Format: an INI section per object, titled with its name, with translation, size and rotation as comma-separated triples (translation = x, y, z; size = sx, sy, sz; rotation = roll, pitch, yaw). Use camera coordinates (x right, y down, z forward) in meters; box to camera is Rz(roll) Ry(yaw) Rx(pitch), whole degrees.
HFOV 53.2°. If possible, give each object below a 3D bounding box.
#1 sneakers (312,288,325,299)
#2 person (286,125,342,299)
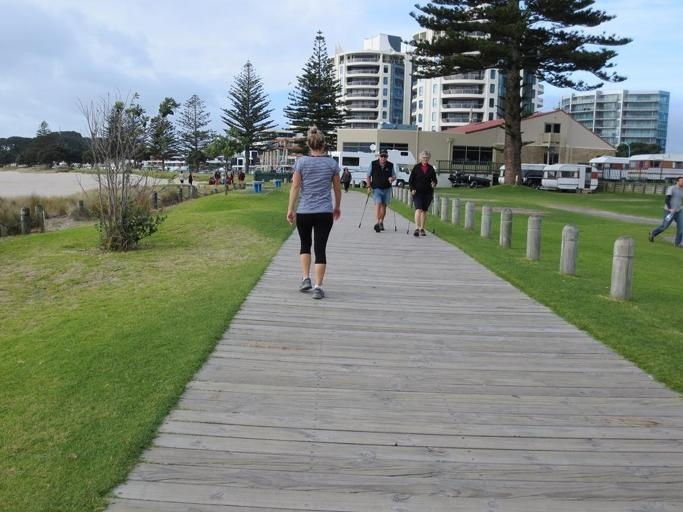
[sneakers]
translation = -0.328, 0.490, 8.914
size = 0.129, 0.132, 0.316
rotation = 0, -3, 5
[person]
translation = -0.368, -0.573, 8.992
size = 0.690, 2.220, 0.743
rotation = -3, 7, -2
